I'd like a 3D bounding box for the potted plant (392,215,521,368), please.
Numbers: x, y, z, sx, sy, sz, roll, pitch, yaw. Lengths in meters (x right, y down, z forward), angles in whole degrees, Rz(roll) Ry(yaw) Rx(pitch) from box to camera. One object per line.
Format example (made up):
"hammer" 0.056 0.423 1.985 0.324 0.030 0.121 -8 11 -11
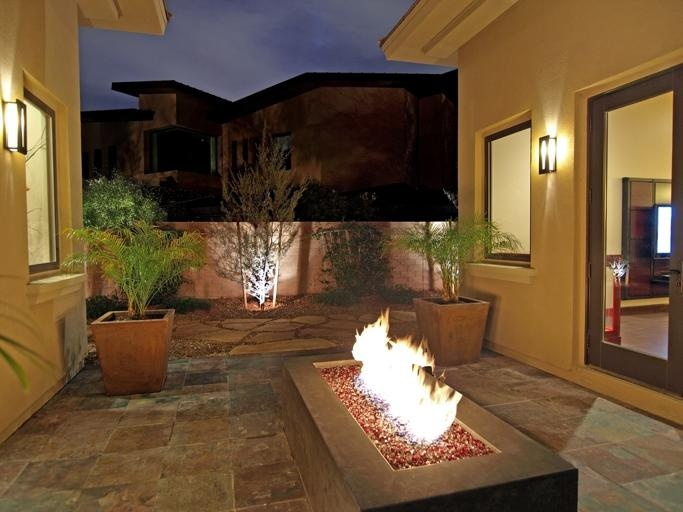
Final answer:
"potted plant" 1.881 0.511 6.300 1.778 2.250 1.769 0 -2 -16

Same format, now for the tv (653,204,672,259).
"tv" 4.995 -0.389 6.707 0.221 0.842 0.385 5 7 41

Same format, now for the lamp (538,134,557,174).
"lamp" 2.369 -1.169 4.927 0.196 0.424 0.099 3 6 25

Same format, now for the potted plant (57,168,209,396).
"potted plant" -2.313 0.360 4.962 1.530 2.356 1.468 5 -11 -27

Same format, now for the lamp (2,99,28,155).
"lamp" -3.016 -1.209 3.979 0.109 0.469 0.266 0 6 -10
